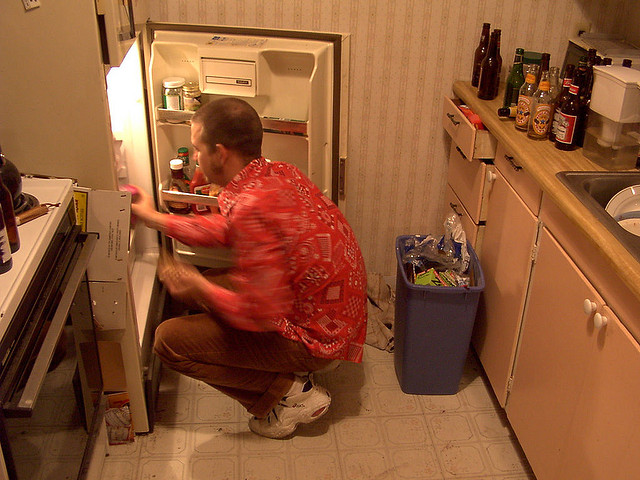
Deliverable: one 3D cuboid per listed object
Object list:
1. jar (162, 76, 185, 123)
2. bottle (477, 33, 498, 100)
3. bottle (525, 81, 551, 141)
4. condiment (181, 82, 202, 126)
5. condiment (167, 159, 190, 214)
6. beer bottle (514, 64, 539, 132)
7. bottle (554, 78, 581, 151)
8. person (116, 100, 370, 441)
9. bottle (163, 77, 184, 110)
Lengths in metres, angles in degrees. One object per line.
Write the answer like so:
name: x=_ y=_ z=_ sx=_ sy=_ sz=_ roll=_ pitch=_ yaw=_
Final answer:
jar: x=-0.663 y=-0.634 z=2.212 sx=0.103 sy=0.181 sz=0.106 roll=5 pitch=28 yaw=-3
bottle: x=0.763 y=-0.777 z=2.177 sx=0.080 sy=0.272 sz=0.112 roll=7 pitch=29 yaw=16
bottle: x=0.838 y=-0.486 z=1.840 sx=0.080 sy=0.209 sz=0.066 roll=11 pitch=30 yaw=22
condiment: x=-0.583 y=-0.630 z=2.211 sx=0.090 sy=0.159 sz=0.091 roll=-19 pitch=37 yaw=-36
condiment: x=-0.657 y=-0.234 z=2.263 sx=0.101 sy=0.245 sz=0.103 roll=8 pitch=19 yaw=21
beer bottle: x=0.805 y=-0.560 z=1.943 sx=0.092 sy=0.254 sz=0.112 roll=-1 pitch=27 yaw=-5
bottle: x=0.913 y=-0.448 z=1.784 sx=0.063 sy=0.220 sz=0.103 roll=13 pitch=31 yaw=25
person: x=-0.131 y=-0.102 z=2.317 sx=1.270 sy=1.685 sz=0.916 roll=5 pitch=30 yaw=8
bottle: x=-0.650 y=-0.651 z=2.163 sx=0.097 sy=0.150 sz=0.102 roll=4 pitch=38 yaw=-3
